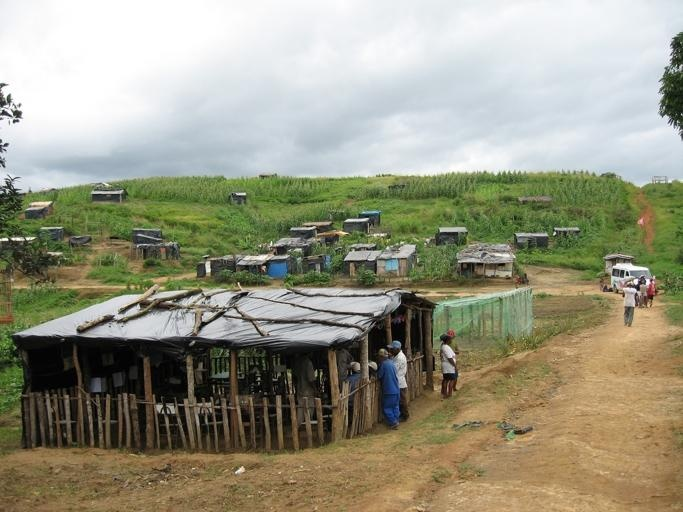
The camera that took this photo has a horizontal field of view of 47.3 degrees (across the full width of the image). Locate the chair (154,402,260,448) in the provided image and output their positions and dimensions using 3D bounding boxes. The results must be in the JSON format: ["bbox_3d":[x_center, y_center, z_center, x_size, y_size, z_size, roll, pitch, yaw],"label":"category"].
[{"bbox_3d":[-3.464,4.214,19.396,2.122,0.981,1.367,-2,-4,2],"label":"chair"}]

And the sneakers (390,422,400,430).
[{"bbox_3d":[1.353,4.342,20.050,0.221,0.163,0.469,-7,-2,12],"label":"sneakers"}]

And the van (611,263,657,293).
[{"bbox_3d":[14.801,1.098,40.212,1.623,1.300,2.376,-1,-1,-16],"label":"van"}]

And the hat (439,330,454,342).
[{"bbox_3d":[2.893,2.190,21.429,0.353,0.230,0.478,-1,-7,8],"label":"hat"}]

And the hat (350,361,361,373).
[{"bbox_3d":[0.353,2.850,20.115,0.220,0.239,0.279,1,-27,3],"label":"hat"}]

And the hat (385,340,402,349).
[{"bbox_3d":[1.371,2.327,20.428,0.330,0.152,0.203,1,-6,4],"label":"hat"}]

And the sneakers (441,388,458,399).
[{"bbox_3d":[3.036,3.891,22.040,0.192,0.233,0.595,-9,-20,-2],"label":"sneakers"}]

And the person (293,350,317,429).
[{"bbox_3d":[-0.927,3.325,19.582,0.559,1.758,1.406,-7,-1,-4],"label":"person"}]

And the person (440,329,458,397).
[{"bbox_3d":[2.961,3.023,21.877,0.554,1.869,1.503,-8,-1,7],"label":"person"}]
